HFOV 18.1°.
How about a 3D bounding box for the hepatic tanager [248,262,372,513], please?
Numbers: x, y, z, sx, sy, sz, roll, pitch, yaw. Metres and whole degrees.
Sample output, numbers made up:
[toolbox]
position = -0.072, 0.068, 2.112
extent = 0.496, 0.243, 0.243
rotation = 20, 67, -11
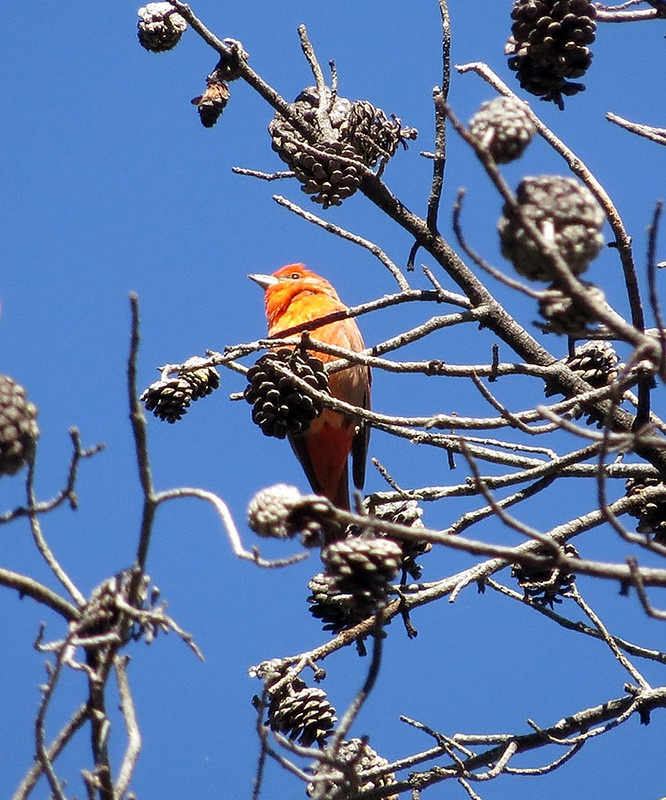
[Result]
[hepatic tanager]
position = -0.016, -0.059, 6.962
extent = 0.299, 0.421, 1.079
rotation = -9, -93, 12
